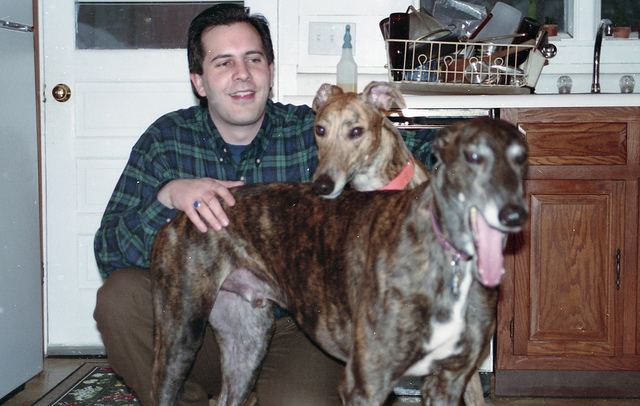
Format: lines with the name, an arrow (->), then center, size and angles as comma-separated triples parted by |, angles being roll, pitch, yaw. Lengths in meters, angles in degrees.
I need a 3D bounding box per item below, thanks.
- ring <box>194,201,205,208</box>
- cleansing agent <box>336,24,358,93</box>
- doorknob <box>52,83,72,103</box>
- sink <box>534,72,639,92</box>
ring -> -0.609, 0.001, 2.958 | 0.028, 0.011, 0.038 | -1, 52, 33
cleansing agent -> 0.214, -1.130, 4.697 | 0.196, 0.544, 0.221 | -2, -10, 4
doorknob -> -2.099, -0.891, 4.814 | 0.136, 0.134, 0.044 | 1, 1, -3
sink -> 2.257, -0.997, 4.853 | 0.843, 0.186, 0.499 | -4, 10, -6
